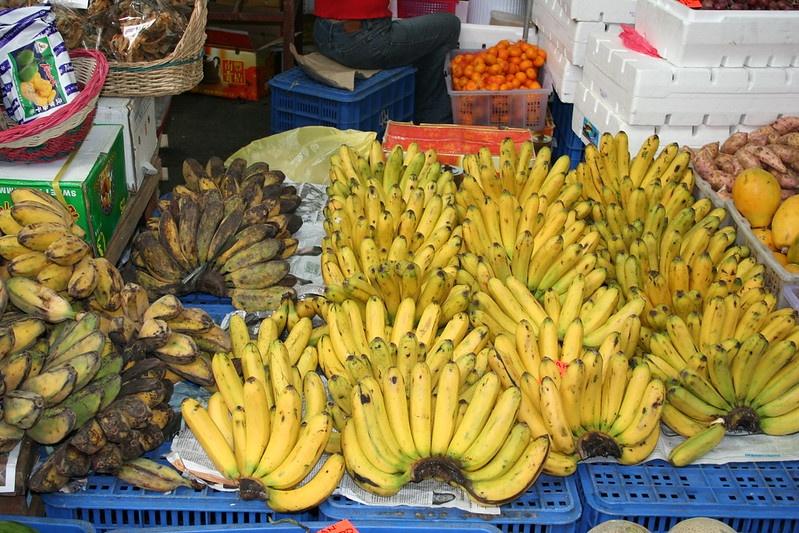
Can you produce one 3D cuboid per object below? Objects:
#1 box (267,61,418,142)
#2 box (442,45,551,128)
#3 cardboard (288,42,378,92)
[{"bbox_3d":[-0.553,-1.818,6.097,0.826,0.733,1.306,15,35,23],"label":"box"},{"bbox_3d":[1.057,-1.975,6.344,1.109,0.594,1.215,7,38,3],"label":"box"},{"bbox_3d":[-0.694,-2.040,5.921,0.865,0.213,0.714,22,41,20],"label":"cardboard"}]
